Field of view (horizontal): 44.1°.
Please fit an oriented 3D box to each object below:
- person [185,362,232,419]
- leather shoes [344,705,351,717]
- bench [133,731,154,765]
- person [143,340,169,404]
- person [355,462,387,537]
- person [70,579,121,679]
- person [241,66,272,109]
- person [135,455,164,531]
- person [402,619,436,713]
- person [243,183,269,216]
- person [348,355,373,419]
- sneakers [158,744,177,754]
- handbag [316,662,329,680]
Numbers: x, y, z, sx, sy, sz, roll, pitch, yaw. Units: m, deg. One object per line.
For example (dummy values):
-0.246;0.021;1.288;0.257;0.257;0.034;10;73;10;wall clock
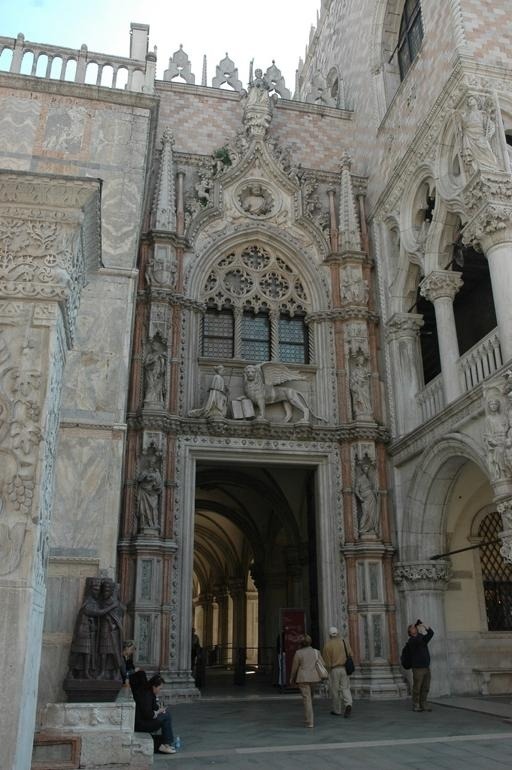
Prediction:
-0.822;0.255;12.437;1.102;1.587;0.624;2;-32;-4;person
1.212;4.330;8.329;0.088;0.091;0.214;5;-60;-4;leather shoes
-0.957;3.076;5.302;0.141;0.207;0.262;1;-21;-13;bench
-1.939;-0.246;12.117;0.422;1.489;0.263;-1;-20;-7;person
2.172;2.181;12.365;0.533;1.639;0.328;-4;-20;2;person
-1.614;2.445;6.416;0.542;0.976;0.742;-3;-20;-2;person
0.043;-7.125;15.219;0.696;1.286;0.344;4;-22;-20;person
-1.914;1.933;11.285;0.455;1.452;0.291;1;-21;-13;person
2.318;4.003;9.004;0.475;1.179;0.628;-7;-21;9;person
-0.012;-4.229;14.605;0.645;0.735;0.248;23;3;-3;person
2.180;0.048;13.112;0.508;1.591;0.327;-3;-20;-3;person
-0.843;3.431;5.959;0.179;0.078;0.064;2;-21;0;sneakers
0.767;3.377;7.490;0.107;0.227;0.376;-5;-20;5;handbag
